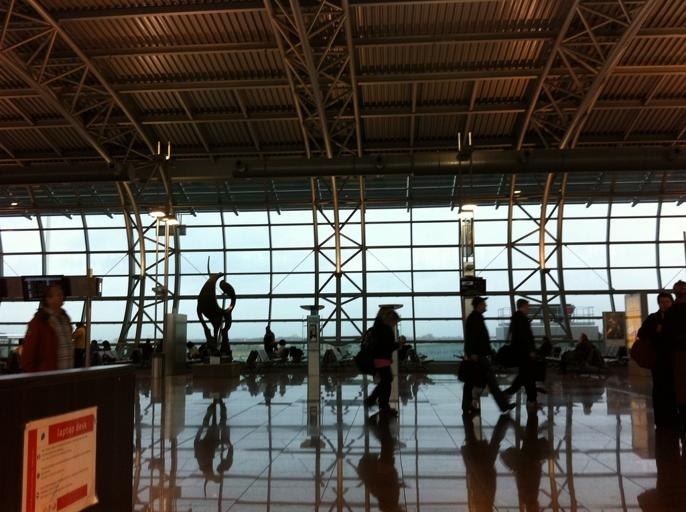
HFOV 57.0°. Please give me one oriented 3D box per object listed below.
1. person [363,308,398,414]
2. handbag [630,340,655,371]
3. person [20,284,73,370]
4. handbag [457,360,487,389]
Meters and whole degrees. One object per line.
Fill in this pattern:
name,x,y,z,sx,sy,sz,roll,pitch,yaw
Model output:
person,0.770,2.019,12.278,0.620,1.987,0.747,0,0,2
handbag,5.207,1.698,10.833,0.176,0.506,0.390,9,2,-41
person,-4.133,1.009,8.927,0.494,1.189,0.805,0,0,18
handbag,2.476,2.228,11.947,0.625,0.434,0.179,6,36,18
